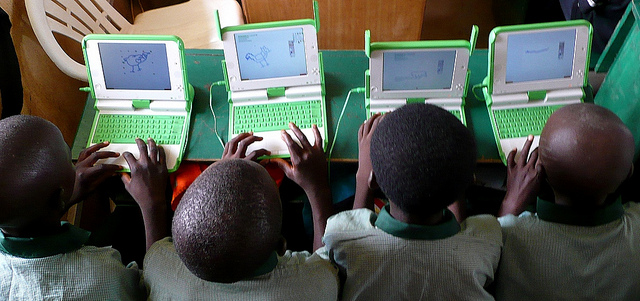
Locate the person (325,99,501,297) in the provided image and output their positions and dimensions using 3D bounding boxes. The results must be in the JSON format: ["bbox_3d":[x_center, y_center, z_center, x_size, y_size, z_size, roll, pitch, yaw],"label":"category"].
[{"bbox_3d":[0.490,0.287,2.393,0.949,1.002,0.477,1,25,12],"label":"person"}]
